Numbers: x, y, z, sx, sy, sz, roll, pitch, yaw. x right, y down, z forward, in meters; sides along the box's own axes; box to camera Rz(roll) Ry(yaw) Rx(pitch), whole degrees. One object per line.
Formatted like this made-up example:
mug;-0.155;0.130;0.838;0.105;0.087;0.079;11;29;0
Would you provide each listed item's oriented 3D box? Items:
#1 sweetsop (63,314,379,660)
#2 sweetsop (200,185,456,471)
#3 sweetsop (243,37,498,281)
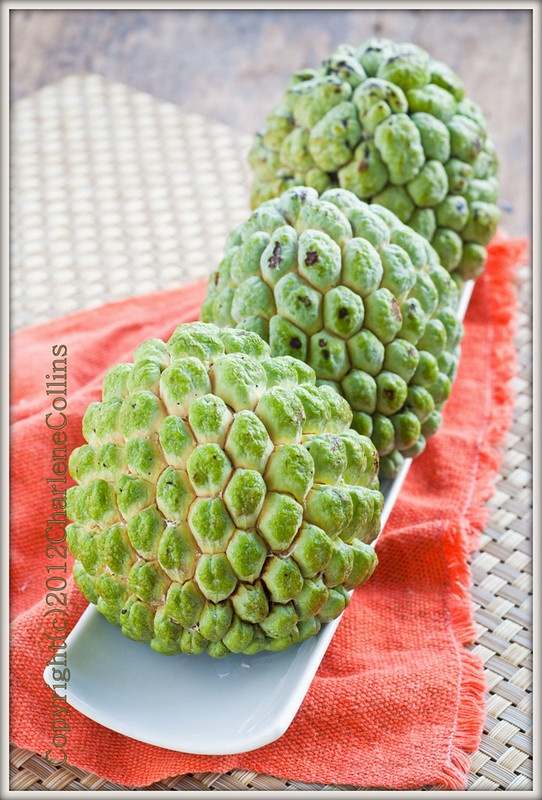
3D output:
sweetsop;-0.064;0.035;0.776;0.254;0.208;0.223;15;26;24
sweetsop;0.103;-0.093;1.000;0.327;0.329;0.309;-5;8;-7
sweetsop;0.092;-0.321;1.160;0.327;0.342;0.320;2;39;-5
